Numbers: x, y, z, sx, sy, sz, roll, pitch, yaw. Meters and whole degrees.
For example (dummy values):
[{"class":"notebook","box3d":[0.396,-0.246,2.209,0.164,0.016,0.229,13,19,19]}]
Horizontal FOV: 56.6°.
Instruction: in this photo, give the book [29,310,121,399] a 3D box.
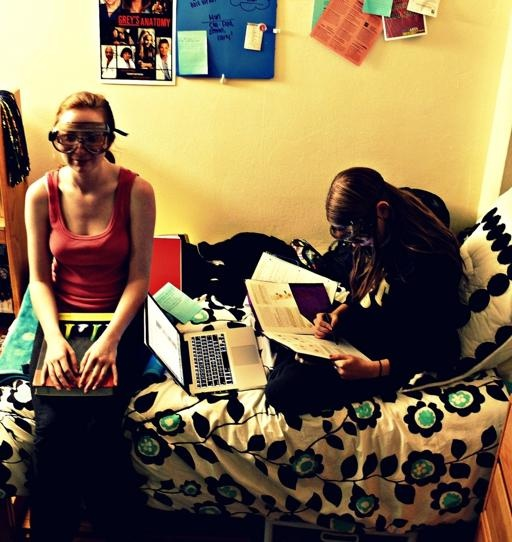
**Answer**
[{"class":"book","box3d":[-0.479,0.223,1.261,0.197,0.133,0.292,-4,22,-15]}]

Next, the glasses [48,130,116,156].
[{"class":"glasses","box3d":[-0.465,-0.337,1.248,0.149,0.059,0.062,-4,22,-16]}]

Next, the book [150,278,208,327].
[{"class":"book","box3d":[-0.277,0.133,1.735,0.201,0.026,0.114,28,41,26]}]

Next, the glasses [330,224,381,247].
[{"class":"glasses","box3d":[0.294,-0.120,1.392,0.097,0.036,0.073,29,-11,-28]}]

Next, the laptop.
[{"class":"laptop","box3d":[-0.147,0.248,1.432,0.316,0.190,0.302,-10,37,-11]}]

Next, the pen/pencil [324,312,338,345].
[{"class":"pen/pencil","box3d":[0.224,0.181,1.482,0.024,0.024,0.102,-27,40,8]}]
